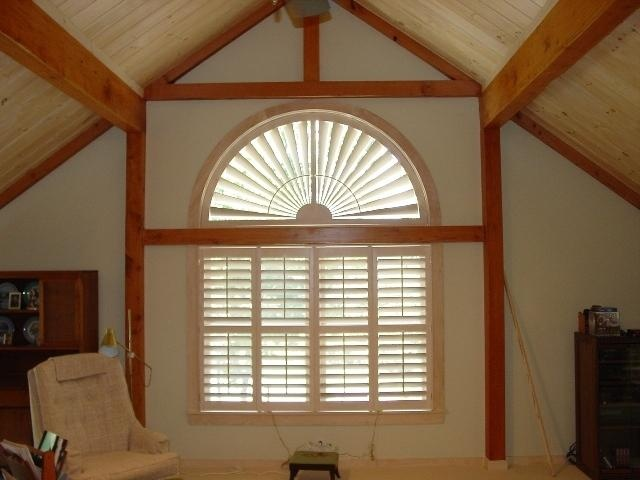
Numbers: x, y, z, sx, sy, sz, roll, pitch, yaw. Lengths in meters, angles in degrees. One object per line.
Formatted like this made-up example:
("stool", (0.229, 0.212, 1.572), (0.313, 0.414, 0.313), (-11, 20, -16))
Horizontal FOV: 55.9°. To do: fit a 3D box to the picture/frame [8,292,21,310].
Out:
("picture/frame", (-2.790, 0.564, 5.530), (0.141, 0.204, 0.022), (0, -6, -9))
